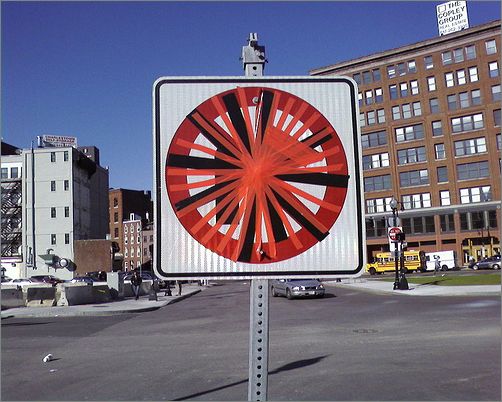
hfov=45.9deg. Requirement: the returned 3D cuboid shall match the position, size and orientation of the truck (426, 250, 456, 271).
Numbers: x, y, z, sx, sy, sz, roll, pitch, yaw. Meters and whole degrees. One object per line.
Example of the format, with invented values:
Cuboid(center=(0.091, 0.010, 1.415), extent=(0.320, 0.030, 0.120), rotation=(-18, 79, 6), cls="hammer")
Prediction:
Cuboid(center=(18.226, 5.582, 56.728), extent=(2.474, 1.407, 1.658), rotation=(0, -3, 21), cls="truck")
